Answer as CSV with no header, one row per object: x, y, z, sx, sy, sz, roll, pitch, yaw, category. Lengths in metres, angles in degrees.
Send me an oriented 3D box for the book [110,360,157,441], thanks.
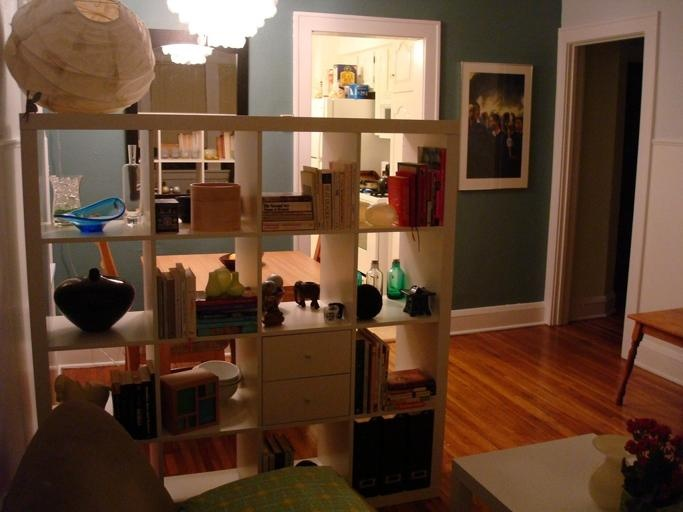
-1.036,0.686,3.026,0.278,0.429,0.293,-5,10,-24,book

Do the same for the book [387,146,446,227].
0.413,-0.361,3.307,0.327,0.483,0.465,-3,12,-12,book

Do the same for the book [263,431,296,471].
-0.334,0.928,3.057,0.124,0.234,0.233,-1,17,-15,book

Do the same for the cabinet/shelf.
-0.561,0.304,3.110,2.173,2.260,0.544,-1,5,-18,cabinet/shelf

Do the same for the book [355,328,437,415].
0.294,0.641,3.206,0.479,0.500,0.275,-1,7,-16,book

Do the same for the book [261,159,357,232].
-0.155,-0.290,2.964,0.495,0.332,0.213,-2,13,-8,book
